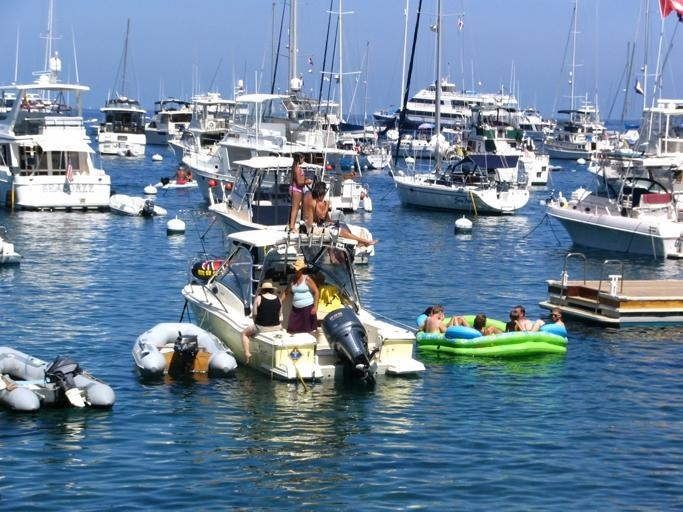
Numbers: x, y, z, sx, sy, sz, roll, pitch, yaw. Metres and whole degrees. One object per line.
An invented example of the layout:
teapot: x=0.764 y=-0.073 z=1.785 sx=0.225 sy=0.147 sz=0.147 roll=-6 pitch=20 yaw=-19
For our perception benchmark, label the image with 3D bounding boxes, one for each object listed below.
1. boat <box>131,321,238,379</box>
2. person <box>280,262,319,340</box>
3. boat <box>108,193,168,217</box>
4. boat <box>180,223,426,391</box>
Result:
boat: x=-3.482 y=2.103 z=28.772 sx=2.103 sy=0.954 sz=1.456 roll=2 pitch=8 yaw=-9
person: x=-0.820 y=0.971 z=28.933 sx=0.668 sy=1.576 sz=0.529 roll=3 pitch=8 yaw=-1
boat: x=-7.799 y=-1.891 z=49.654 sx=2.205 sy=0.682 sz=0.875 roll=6 pitch=8 yaw=24
boat: x=-0.835 y=1.036 z=29.046 sx=2.608 sy=2.447 sz=5.516 roll=-3 pitch=15 yaw=-28
